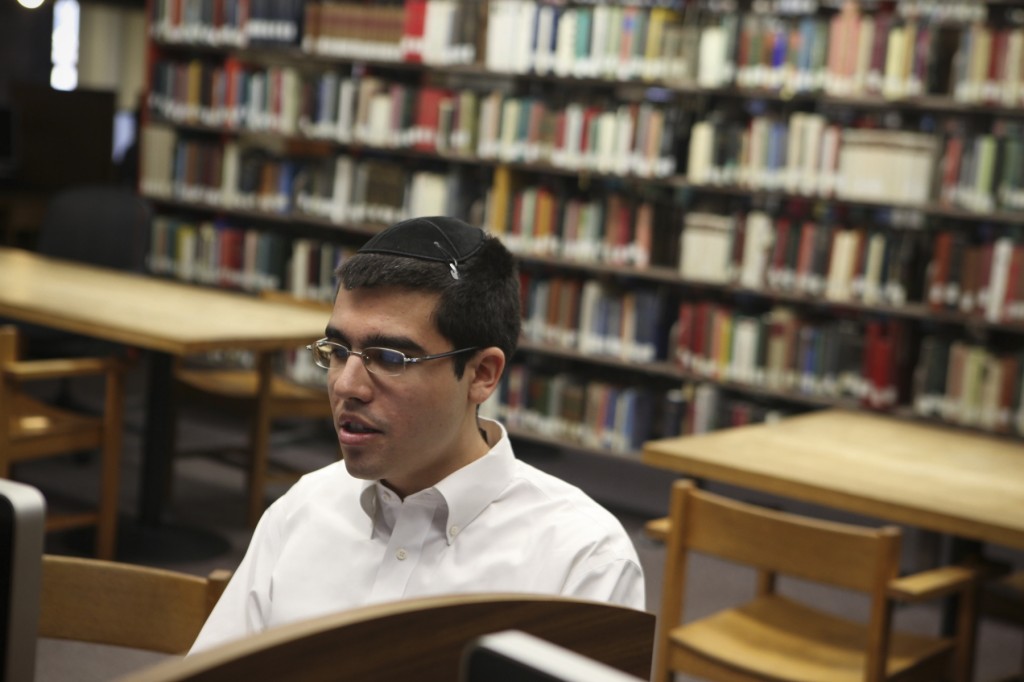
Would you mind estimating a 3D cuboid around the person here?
[{"bbox_3d":[-0.197,0.264,2.507,1.011,1.036,0.613,4,2,29],"label":"person"}]
